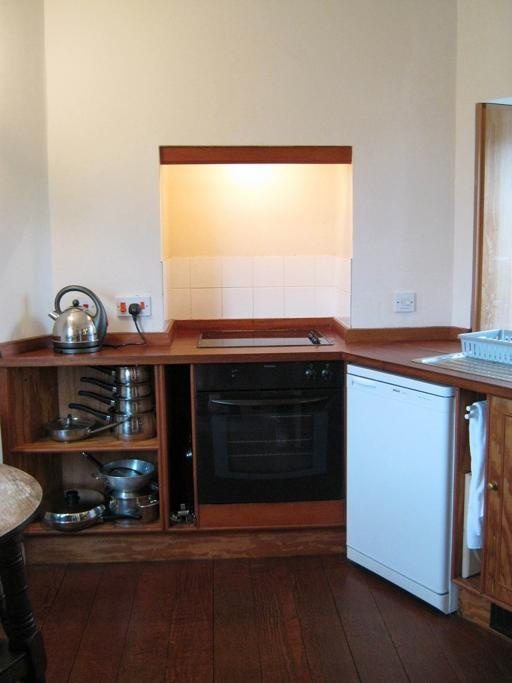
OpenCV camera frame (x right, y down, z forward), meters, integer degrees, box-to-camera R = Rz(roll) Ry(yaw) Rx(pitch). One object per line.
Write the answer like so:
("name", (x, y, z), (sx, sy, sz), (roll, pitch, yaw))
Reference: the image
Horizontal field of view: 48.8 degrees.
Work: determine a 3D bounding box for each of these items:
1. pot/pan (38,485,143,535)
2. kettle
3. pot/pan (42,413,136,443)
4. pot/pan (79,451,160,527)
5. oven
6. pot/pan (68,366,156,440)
("pot/pan", (-0.673, 0.686, 2.288), (0.282, 0.107, 0.177), (1, 1, 2))
("kettle", (-0.750, -0.099, 2.374), (0.227, 0.273, 0.298), (-3, 6, -17))
("pot/pan", (-0.745, 0.363, 2.388), (0.289, 0.109, 0.150), (-1, 3, 0))
("pot/pan", (-0.610, 0.626, 2.494), (0.196, 0.187, 0.464), (-4, 6, -38))
("oven", (0.037, 0.400, 2.432), (0.635, 0.642, 0.441), (0, 3, -9))
("pot/pan", (-0.601, 0.257, 2.488), (0.400, 0.368, 0.249), (-1, 4, -11))
